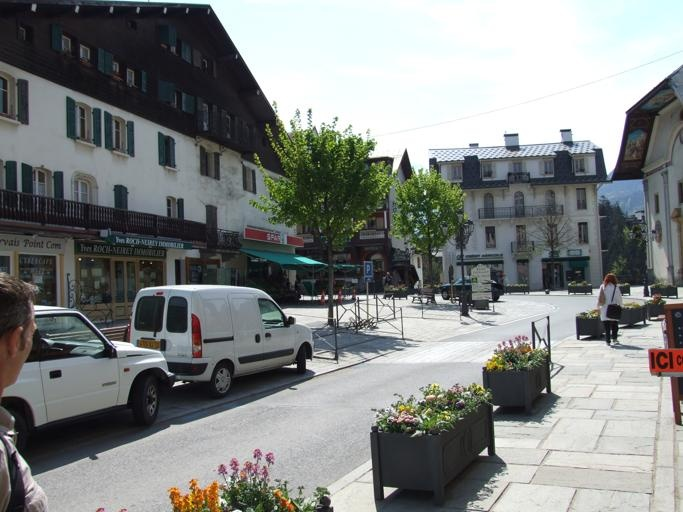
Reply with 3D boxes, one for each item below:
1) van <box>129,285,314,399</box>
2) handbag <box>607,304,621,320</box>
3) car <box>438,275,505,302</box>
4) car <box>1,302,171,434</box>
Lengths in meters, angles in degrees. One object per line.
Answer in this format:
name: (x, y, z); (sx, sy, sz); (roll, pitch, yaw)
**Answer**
van: (-2.566, 1.707, 14.200); (1.876, 1.683, 3.460); (-2, 0, 30)
handbag: (7.402, 1.493, 17.069); (0.359, 0.420, 0.116); (4, 3, 0)
car: (8.666, 2.191, 42.364); (4.081, 1.733, 1.959); (1, -2, 25)
car: (-4.310, 1.698, 10.490); (1.401, 1.524, 2.551); (0, 3, 34)
